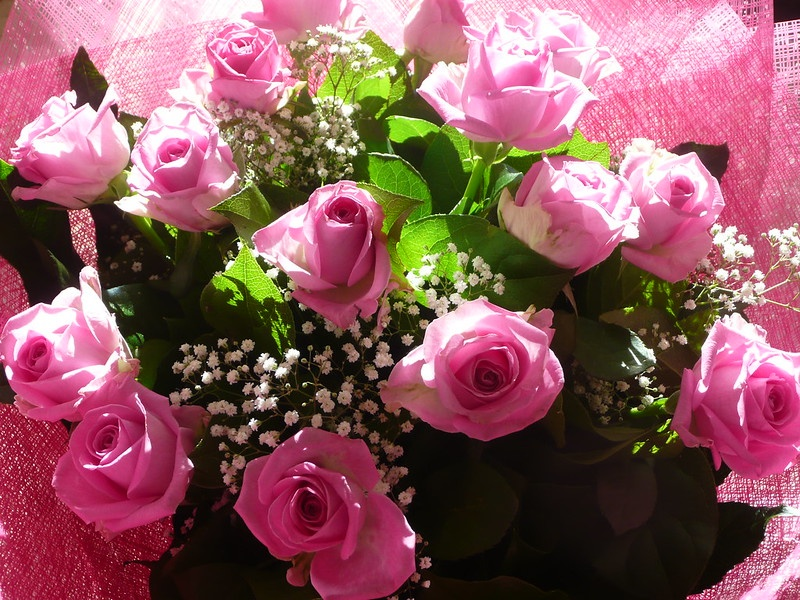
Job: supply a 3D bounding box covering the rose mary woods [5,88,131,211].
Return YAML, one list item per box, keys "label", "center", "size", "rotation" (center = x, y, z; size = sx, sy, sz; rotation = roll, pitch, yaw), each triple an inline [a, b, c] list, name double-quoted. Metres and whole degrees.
- label: "rose mary woods"
  center: [-0.411, -0.162, 0.813]
  size: [0.086, 0.141, 0.143]
  rotation: [12, 66, -29]

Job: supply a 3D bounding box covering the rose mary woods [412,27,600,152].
- label: "rose mary woods"
  center: [0.133, -0.220, 0.730]
  size: [0.142, 0.143, 0.088]
  rotation: [-9, 92, -49]

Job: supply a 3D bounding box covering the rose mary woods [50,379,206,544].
- label: "rose mary woods"
  center: [-0.279, 0.167, 0.710]
  size: [0.148, 0.084, 0.172]
  rotation: [-1, 78, 18]

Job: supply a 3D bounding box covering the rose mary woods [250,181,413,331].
- label: "rose mary woods"
  center: [-0.076, -0.049, 0.653]
  size: [0.143, 0.111, 0.100]
  rotation: [15, 45, -2]

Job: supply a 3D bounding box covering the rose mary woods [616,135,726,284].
- label: "rose mary woods"
  center: [0.327, -0.106, 0.819]
  size: [0.140, 0.084, 0.165]
  rotation: [2, 84, -15]
